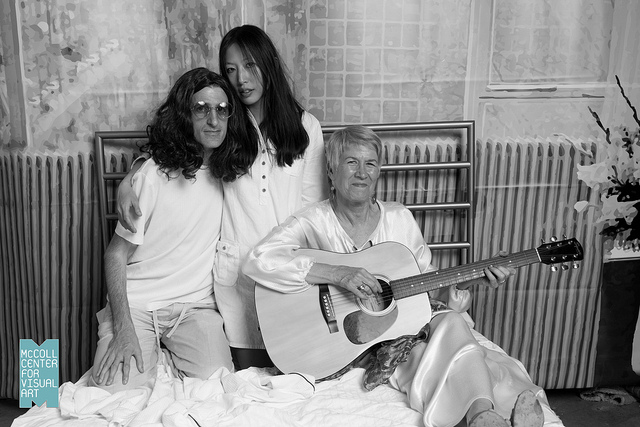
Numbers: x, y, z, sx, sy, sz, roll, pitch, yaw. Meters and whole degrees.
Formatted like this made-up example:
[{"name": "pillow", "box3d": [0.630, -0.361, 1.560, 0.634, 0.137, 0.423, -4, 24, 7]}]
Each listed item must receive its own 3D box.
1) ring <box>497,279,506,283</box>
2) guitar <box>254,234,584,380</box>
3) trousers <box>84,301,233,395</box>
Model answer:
[{"name": "ring", "box3d": [0.938, 0.346, 2.792, 0.040, 0.011, 0.043, -6, -11, -1]}, {"name": "guitar", "box3d": [0.611, 0.461, 2.971, 1.857, 0.300, 0.834, -11, 43, -6]}, {"name": "trousers", "box3d": [-0.842, 0.696, 2.926, 0.792, 0.467, 0.685, 2, 11, -15]}]
